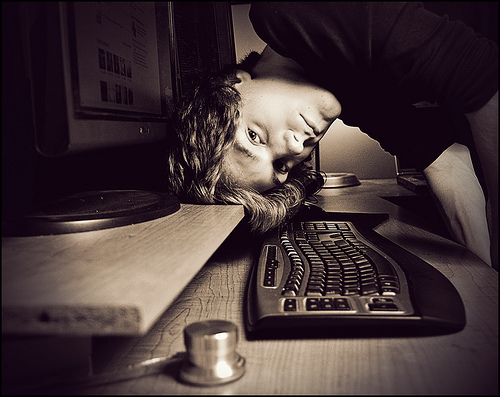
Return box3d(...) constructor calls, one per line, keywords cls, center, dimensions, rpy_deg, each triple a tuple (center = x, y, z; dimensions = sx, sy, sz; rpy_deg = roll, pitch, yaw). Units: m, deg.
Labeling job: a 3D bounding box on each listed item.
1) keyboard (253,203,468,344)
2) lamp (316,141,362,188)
box3d(cls="keyboard", center=(0.157, 0.093, 0.672), dimensions=(0.289, 0.038, 0.486), rpy_deg=(-1, 12, 2))
box3d(cls="lamp", center=(0.329, -0.127, 1.471), dimensions=(0.153, 0.150, 0.168), rpy_deg=(-2, 12, -3))
